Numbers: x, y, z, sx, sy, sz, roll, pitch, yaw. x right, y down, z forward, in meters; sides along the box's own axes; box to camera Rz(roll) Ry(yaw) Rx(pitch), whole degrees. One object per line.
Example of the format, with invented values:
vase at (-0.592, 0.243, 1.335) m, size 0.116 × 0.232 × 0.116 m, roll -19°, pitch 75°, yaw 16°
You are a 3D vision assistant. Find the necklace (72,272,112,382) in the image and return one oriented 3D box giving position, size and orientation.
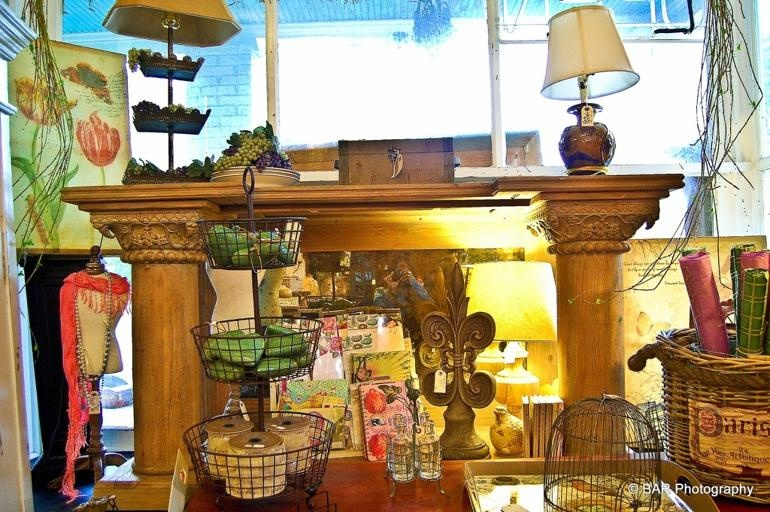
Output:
necklace at (-1.291, 0.331, 3.971) m, size 0.153 × 0.447 × 0.125 m, roll 0°, pitch -4°, yaw -18°

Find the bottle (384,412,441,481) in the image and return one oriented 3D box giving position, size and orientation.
bottle at (0.111, 0.743, 3.526) m, size 0.231 × 0.249 × 0.235 m, roll 1°, pitch -3°, yaw -31°

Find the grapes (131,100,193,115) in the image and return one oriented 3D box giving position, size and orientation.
grapes at (-0.927, -0.624, 3.750) m, size 0.256 × 0.064 × 0.065 m, roll -1°, pitch -4°, yaw -12°

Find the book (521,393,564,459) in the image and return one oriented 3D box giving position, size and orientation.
book at (0.605, 0.667, 3.672) m, size 0.202 × 0.266 × 0.274 m, roll 2°, pitch 3°, yaw -1°

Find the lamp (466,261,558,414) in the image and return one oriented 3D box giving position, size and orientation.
lamp at (0.566, 0.361, 3.898) m, size 0.376 × 0.667 × 0.347 m, roll -2°, pitch -4°, yaw 9°

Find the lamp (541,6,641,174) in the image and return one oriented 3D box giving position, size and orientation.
lamp at (0.870, -0.686, 3.802) m, size 0.413 × 0.737 × 0.319 m, roll -3°, pitch -4°, yaw 15°

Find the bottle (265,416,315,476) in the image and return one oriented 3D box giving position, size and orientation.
bottle at (-0.336, 0.708, 3.362) m, size 0.193 × 0.197 × 0.194 m, roll -1°, pitch 0°, yaw 10°

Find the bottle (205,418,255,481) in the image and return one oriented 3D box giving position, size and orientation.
bottle at (-0.603, 0.712, 3.307) m, size 0.189 × 0.186 × 0.191 m, roll 1°, pitch 0°, yaw 18°

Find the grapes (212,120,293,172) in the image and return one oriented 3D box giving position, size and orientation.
grapes at (-0.575, -0.490, 3.717) m, size 0.243 × 0.136 × 0.247 m, roll 9°, pitch 18°, yaw 27°

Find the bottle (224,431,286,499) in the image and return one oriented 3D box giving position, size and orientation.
bottle at (-0.470, 0.772, 3.263) m, size 0.211 × 0.229 × 0.087 m, roll -1°, pitch -4°, yaw -11°

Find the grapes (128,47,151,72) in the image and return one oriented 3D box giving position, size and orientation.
grapes at (-1.056, -0.841, 3.808) m, size 0.088 × 0.092 × 0.169 m, roll 1°, pitch -5°, yaw -34°
